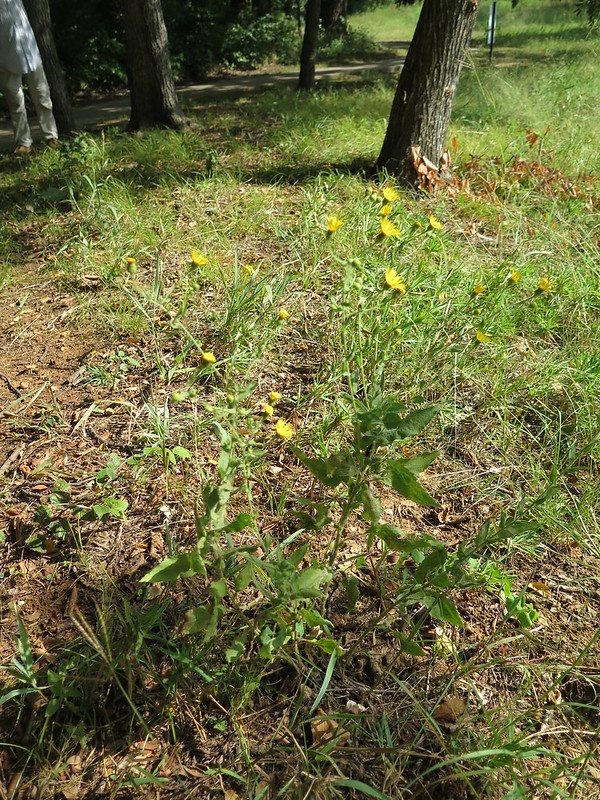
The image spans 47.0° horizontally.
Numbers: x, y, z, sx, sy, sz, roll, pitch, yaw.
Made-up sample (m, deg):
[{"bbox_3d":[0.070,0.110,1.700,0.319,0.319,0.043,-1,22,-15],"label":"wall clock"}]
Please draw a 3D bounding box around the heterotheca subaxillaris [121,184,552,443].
[{"bbox_3d":[0.246,-0.338,3.045,1.487,0.602,1.378,-9,43,-17],"label":"heterotheca subaxillaris"}]
